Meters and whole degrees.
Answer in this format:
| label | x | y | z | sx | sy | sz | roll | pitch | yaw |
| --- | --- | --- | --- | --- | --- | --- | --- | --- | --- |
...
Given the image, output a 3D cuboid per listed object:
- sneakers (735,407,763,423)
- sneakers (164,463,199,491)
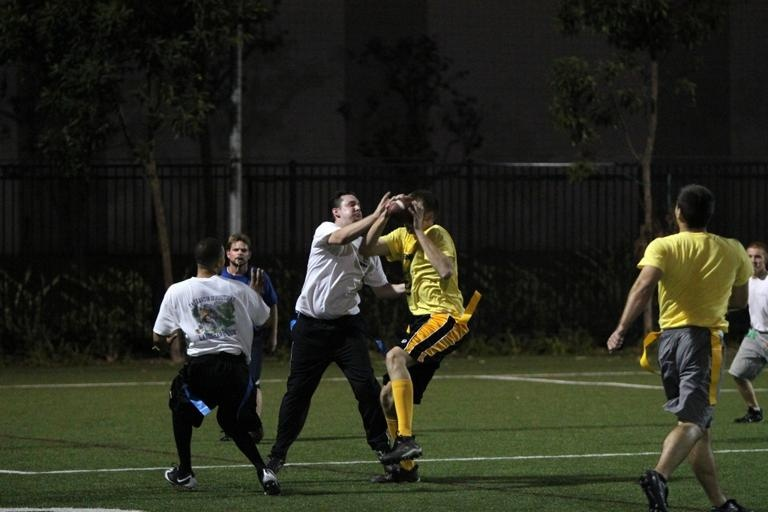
| label | x | y | z | sx | sy | sz | roll | pitch | yaw |
| --- | --- | --- | --- | --- | --- | --- | --- | --- | --- |
| sneakers | 5.881 | 2.622 | 21.174 | 0.582 | 0.266 | 0.201 | -2 | -2 | -2 |
| sneakers | -2.790 | 3.118 | 17.935 | 0.546 | 0.285 | 0.210 | 20 | 23 | 28 |
